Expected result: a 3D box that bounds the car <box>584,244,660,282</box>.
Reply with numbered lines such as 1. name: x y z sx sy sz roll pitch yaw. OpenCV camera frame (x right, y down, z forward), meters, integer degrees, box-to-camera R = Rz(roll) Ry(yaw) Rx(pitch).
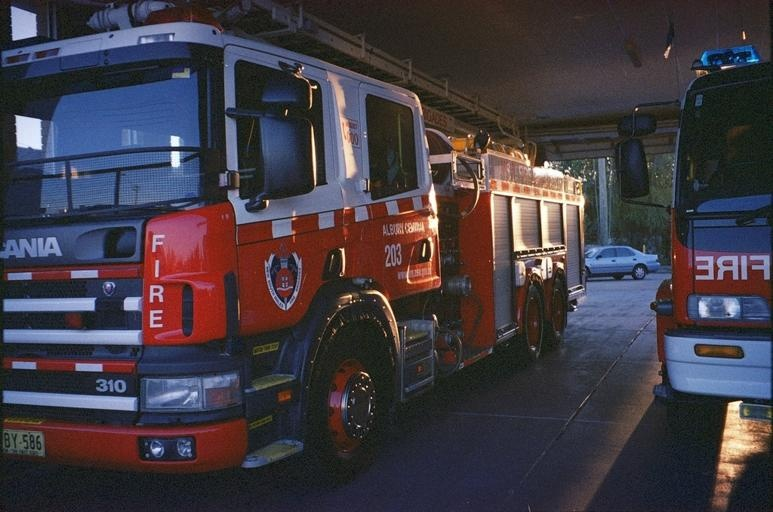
1. car: 9.313 0.324 27.519 2.898 1.122 1.297 3 0 0
